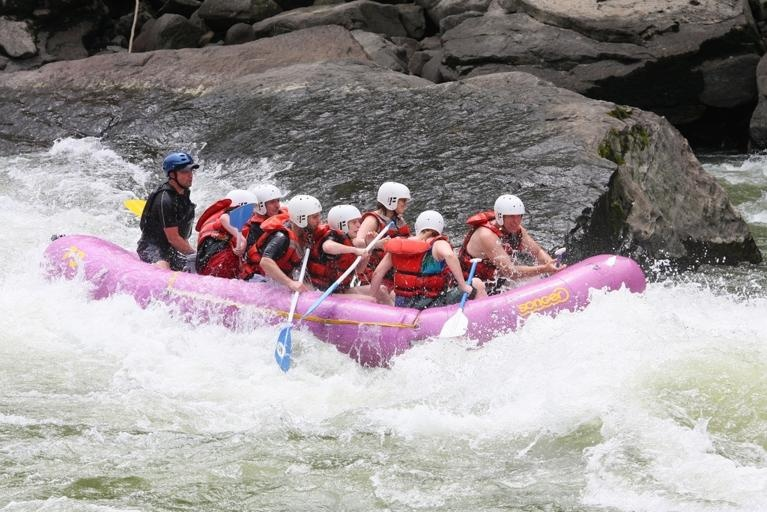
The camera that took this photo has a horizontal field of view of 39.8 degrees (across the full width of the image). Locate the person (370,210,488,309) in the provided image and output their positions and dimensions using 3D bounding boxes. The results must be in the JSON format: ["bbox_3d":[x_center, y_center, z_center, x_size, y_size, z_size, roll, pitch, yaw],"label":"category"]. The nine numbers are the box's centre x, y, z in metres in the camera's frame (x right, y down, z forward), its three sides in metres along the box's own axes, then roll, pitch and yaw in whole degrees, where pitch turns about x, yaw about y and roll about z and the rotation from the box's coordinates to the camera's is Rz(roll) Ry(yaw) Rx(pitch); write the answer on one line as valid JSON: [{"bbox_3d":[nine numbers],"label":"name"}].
[{"bbox_3d":[0.576,0.172,13.646,1.583,1.384,1.228,2,-3,32],"label":"person"}]

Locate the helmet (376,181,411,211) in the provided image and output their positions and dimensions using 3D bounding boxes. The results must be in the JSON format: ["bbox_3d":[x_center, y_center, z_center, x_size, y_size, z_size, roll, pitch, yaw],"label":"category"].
[{"bbox_3d":[0.097,-0.815,14.026,0.469,0.313,0.304,0,12,10],"label":"helmet"}]

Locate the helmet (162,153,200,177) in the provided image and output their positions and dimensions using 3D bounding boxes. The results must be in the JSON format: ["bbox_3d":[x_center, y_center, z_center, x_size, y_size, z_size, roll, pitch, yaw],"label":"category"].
[{"bbox_3d":[-2.880,-1.259,14.317,0.620,0.257,0.386,-11,3,9],"label":"helmet"}]

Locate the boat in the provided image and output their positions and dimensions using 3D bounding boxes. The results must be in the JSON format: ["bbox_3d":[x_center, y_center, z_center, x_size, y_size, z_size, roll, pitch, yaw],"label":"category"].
[{"bbox_3d":[-0.810,0.595,13.365,5.912,0.995,2.545,4,7,21],"label":"boat"}]

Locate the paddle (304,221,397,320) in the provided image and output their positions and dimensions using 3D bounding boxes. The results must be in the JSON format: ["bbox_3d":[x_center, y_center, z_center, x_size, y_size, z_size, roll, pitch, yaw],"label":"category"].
[{"bbox_3d":[-0.458,0.197,13.439,1.837,0.185,0.104,-47,15,-29],"label":"paddle"}]

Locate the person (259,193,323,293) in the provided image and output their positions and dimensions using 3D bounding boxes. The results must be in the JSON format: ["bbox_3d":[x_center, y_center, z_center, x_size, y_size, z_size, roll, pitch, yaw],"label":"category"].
[{"bbox_3d":[-1.181,-0.105,13.460,0.689,1.243,0.624,5,45,-11],"label":"person"}]

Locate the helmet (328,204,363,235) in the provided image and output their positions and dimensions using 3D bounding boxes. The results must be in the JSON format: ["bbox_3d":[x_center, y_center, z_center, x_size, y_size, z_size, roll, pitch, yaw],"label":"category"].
[{"bbox_3d":[-0.519,-0.466,13.452,0.460,0.307,0.307,4,8,4],"label":"helmet"}]

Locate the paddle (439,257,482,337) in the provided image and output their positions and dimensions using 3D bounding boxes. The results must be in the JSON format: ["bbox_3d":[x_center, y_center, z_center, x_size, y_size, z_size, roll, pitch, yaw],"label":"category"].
[{"bbox_3d":[0.991,0.517,12.858,0.298,0.060,1.138,4,48,34],"label":"paddle"}]

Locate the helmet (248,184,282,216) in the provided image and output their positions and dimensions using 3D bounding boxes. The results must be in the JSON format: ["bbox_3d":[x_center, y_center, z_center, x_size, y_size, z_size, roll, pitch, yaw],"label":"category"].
[{"bbox_3d":[-1.548,-0.765,14.066,0.459,0.368,0.326,2,7,17],"label":"helmet"}]

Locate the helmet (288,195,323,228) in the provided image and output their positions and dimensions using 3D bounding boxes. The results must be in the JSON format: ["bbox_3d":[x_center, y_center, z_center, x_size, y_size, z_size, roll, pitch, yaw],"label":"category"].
[{"bbox_3d":[-1.053,-0.566,13.543,0.461,0.314,0.320,5,6,-1],"label":"helmet"}]

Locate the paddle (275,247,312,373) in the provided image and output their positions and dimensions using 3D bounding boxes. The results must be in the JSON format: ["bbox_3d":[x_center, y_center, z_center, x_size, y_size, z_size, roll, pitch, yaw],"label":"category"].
[{"bbox_3d":[-1.123,0.716,13.275,0.231,1.710,0.077,22,-44,-10],"label":"paddle"}]

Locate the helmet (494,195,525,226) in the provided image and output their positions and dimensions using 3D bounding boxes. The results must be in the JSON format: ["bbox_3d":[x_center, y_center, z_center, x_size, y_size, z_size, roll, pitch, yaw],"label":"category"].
[{"bbox_3d":[1.566,-0.592,13.356,0.329,0.304,0.417,-7,8,-43],"label":"helmet"}]

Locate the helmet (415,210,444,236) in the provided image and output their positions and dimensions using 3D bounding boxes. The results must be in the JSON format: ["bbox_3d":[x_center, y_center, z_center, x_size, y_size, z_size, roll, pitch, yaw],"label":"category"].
[{"bbox_3d":[0.582,-0.418,13.464,0.298,0.258,0.340,9,0,-1],"label":"helmet"}]
